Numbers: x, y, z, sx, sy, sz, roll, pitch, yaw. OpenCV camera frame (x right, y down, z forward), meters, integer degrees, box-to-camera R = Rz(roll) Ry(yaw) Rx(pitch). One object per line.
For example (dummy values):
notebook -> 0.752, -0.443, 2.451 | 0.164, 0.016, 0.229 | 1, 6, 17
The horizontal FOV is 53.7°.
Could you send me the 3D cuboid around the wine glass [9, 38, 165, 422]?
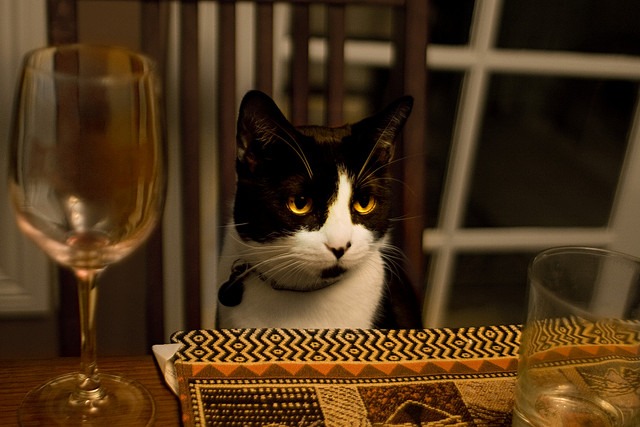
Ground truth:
wine glass -> -0.275, 0.024, 0.762 | 0.177, 0.424, 0.168 | -1, 19, -10
